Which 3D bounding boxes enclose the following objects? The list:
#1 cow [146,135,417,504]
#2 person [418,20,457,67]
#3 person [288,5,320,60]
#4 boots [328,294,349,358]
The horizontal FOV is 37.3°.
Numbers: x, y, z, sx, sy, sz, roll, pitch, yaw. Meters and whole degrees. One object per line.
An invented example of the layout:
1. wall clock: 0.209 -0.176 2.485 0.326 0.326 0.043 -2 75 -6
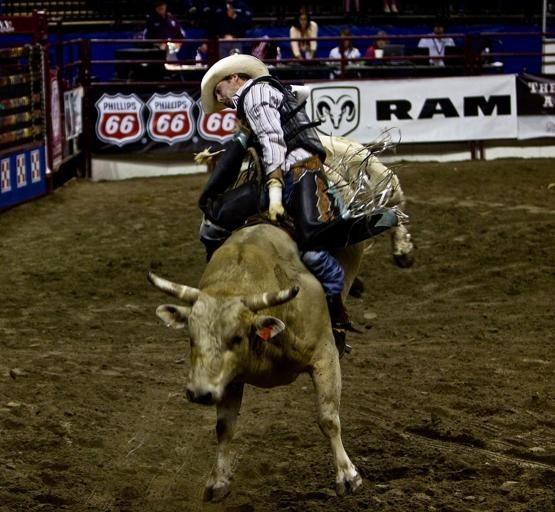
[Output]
1. cow: 0.062 0.395 5.136 1.105 2.082 2.276 1 11 15
2. person: 2.950 -3.854 14.971 0.662 0.316 0.932 -1 43 5
3. person: 0.484 -4.004 14.811 0.525 0.767 1.538 -1 5 3
4. boots: 0.420 0.469 5.607 0.151 0.426 0.188 5 23 20
